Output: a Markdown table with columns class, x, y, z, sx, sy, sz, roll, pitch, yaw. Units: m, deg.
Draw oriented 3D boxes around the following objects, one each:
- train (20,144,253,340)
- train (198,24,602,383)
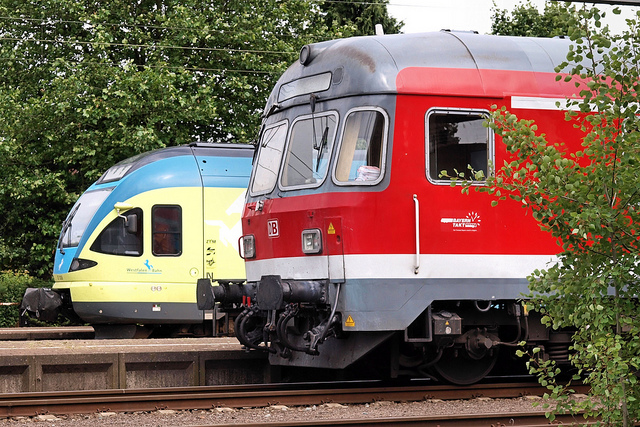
| class | x | y | z | sx | sy | sz | roll | pitch | yaw |
| --- | --- | --- | --- | --- | --- | --- | --- | --- | --- |
| train | -3.468 | 0.420 | 18.881 | 3.030 | 4.693 | 9.163 | 11 | 6 | 31 |
| train | 3.308 | 0.063 | 12.990 | 10.267 | 5.156 | 3.438 | 2 | -4 | -36 |
